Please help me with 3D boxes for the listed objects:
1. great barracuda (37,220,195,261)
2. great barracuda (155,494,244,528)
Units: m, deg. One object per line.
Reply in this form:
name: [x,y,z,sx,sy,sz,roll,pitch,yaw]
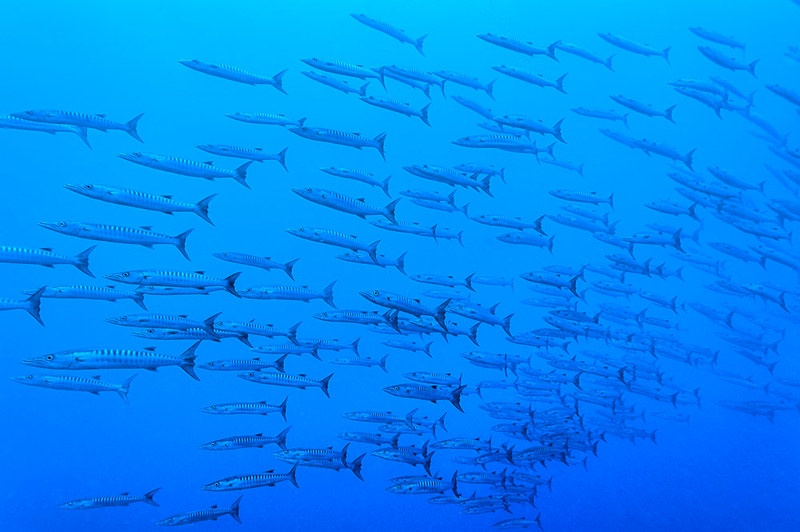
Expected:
great barracuda: [-6.382,-0.754,26.053,3.463,0.731,0.717,8,-80,-28]
great barracuda: [-4.659,5.700,26.805,1.823,0.824,0.974,0,-38,-10]
